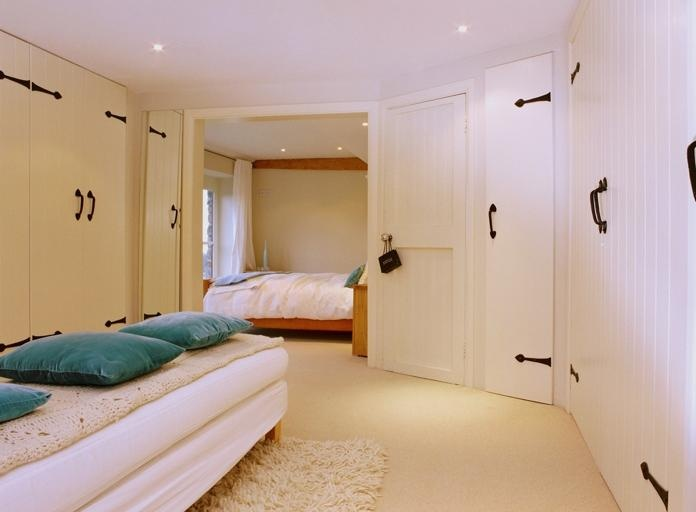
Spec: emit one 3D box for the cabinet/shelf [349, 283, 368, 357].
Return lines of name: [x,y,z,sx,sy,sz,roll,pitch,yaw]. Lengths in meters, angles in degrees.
cabinet/shelf: [0.189,0.732,5.230,0.207,0.674,0.663,0,-12,6]

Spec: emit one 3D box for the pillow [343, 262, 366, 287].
pillow: [0.086,0.257,5.614,0.238,0.234,0.371,1,8,0]

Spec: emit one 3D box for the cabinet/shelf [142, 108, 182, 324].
cabinet/shelf: [-1.864,-0.434,4.865,0.350,2.037,0.323,1,7,3]

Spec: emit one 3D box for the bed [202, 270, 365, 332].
bed: [-0.684,0.535,5.814,1.036,0.490,1.000,0,2,7]

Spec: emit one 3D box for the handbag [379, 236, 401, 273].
handbag: [0.386,-0.043,4.502,0.200,0.378,0.075,-9,-23,23]

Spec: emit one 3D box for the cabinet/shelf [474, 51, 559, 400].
cabinet/shelf: [1.344,-0.201,3.809,0.505,2.679,0.161,1,1,29]
